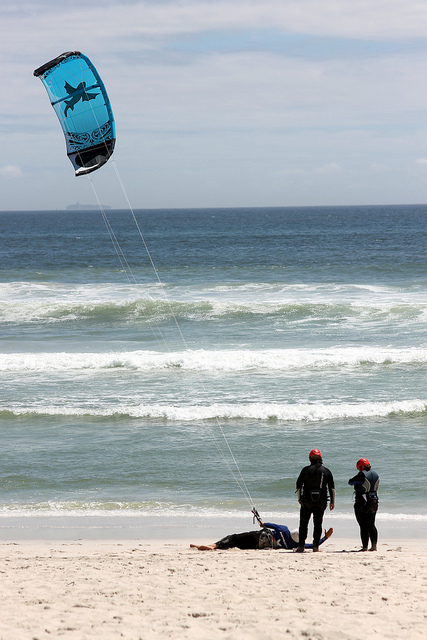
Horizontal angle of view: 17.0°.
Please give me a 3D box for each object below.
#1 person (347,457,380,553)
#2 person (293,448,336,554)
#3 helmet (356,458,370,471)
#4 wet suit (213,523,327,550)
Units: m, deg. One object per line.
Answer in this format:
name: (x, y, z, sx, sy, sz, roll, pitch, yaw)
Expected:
person: (1.971, 2.324, 18.380, 0.357, 1.224, 1.265, -6, 4, 6)
person: (1.225, 2.275, 17.750, 0.544, 1.332, 0.544, -9, 5, -32)
helmet: (1.879, 1.812, 17.964, 0.132, 0.137, 0.303, -6, 4, 4)
wet suit: (0.733, 2.783, 18.303, 0.880, 0.280, 0.248, 3, 45, -12)
